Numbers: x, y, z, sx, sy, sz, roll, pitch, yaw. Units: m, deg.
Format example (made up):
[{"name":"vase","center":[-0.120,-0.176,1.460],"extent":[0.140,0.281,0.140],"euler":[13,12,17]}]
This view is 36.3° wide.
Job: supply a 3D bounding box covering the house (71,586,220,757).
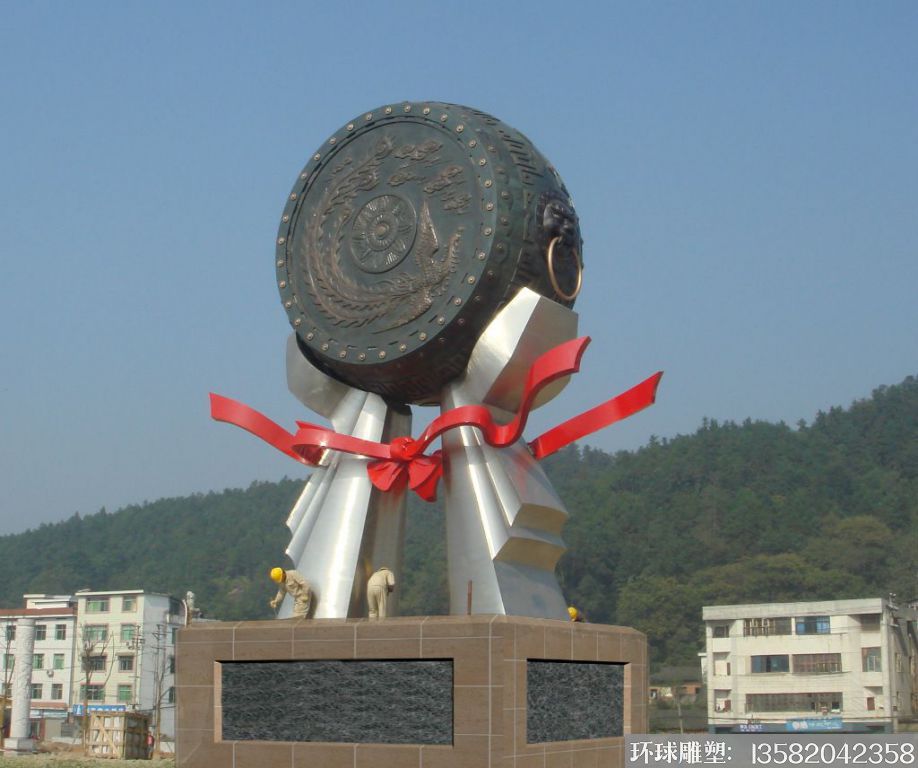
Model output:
[{"name":"house","center":[-11.019,8.867,45.594],"extent":[3.060,3.448,5.513],"euler":[-7,12,1]}]
